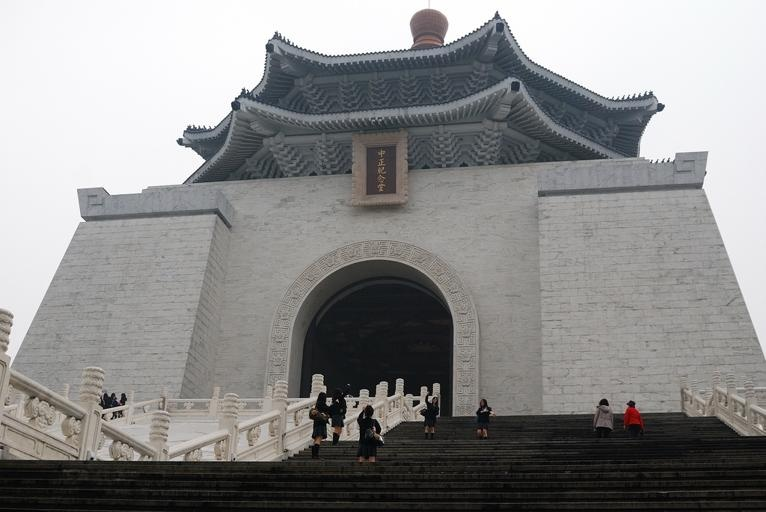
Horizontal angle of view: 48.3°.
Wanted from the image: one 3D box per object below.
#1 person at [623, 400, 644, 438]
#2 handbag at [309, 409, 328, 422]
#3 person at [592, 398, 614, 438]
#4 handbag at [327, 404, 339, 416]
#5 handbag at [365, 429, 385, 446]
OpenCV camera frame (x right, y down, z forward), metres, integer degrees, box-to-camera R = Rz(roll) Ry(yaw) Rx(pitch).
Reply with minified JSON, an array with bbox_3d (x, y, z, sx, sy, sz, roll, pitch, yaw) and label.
[{"bbox_3d":[4.086,2.699,13.911,0.283,0.665,0.723,-5,-27,14],"label":"person"},{"bbox_3d":[-0.926,2.318,12.328,0.244,0.082,0.202,13,3,-18],"label":"handbag"},{"bbox_3d":[3.584,2.650,13.864,0.284,0.735,0.516,-4,-28,12],"label":"person"},{"bbox_3d":[-0.733,2.351,12.931,0.231,0.176,0.107,-2,-22,3],"label":"handbag"},{"bbox_3d":[-0.127,2.463,11.499,0.212,0.100,0.286,24,-3,-42],"label":"handbag"}]
